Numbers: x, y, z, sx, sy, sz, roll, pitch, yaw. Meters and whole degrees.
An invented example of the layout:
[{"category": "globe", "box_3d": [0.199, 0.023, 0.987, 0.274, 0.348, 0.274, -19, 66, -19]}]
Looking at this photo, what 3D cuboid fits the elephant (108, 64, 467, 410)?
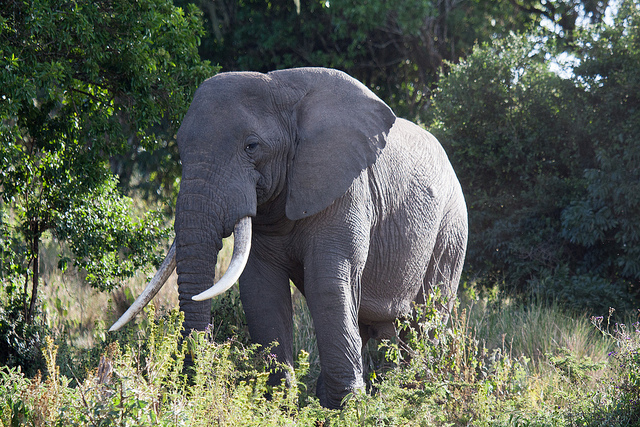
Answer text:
[{"category": "elephant", "box_3d": [0.005, 0.473, 9.988, 4.589, 4.026, 2.231, 9, -9, -37]}]
